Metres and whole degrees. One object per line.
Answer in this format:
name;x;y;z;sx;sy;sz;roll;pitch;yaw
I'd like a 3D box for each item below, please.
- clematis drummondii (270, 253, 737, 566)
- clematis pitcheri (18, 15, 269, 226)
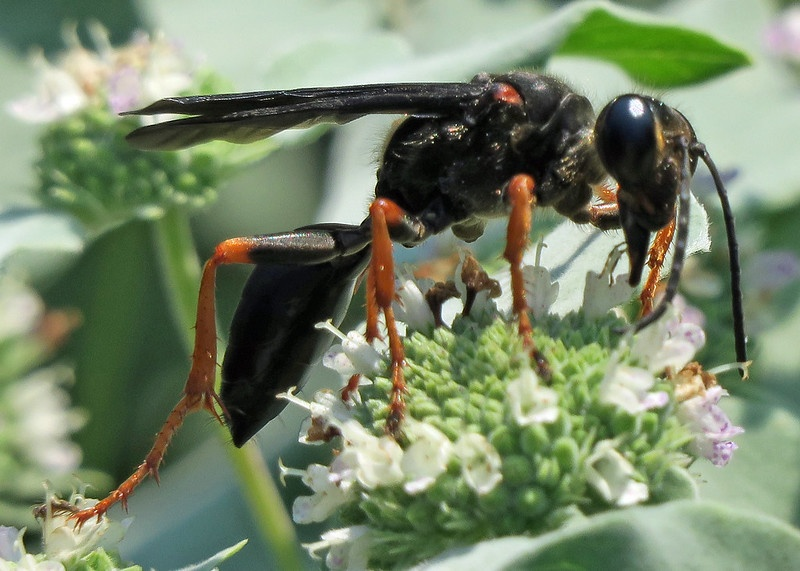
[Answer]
clematis drummondii;0.220;0.294;1.991;1.008;0.468;0.625;-16;31;-7
clematis pitcheri;-0.959;-0.487;3.024;0.659;0.388;0.716;-3;53;-14
